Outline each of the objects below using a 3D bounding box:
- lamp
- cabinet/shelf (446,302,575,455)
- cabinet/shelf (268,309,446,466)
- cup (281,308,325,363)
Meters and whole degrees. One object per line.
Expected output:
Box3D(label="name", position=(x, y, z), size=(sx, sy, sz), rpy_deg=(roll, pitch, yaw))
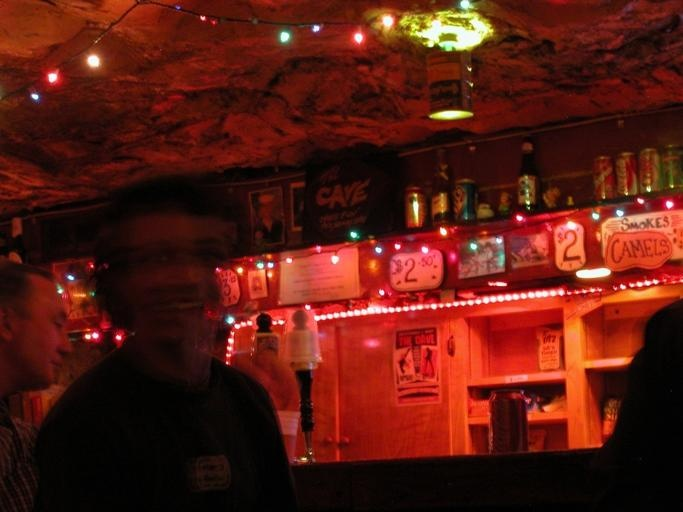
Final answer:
Box3D(label="lamp", position=(0.537, -0.852, 3.943), size=(0.236, 0.272, 0.181), rpy_deg=(3, -7, -22))
Box3D(label="cabinet/shelf", position=(1.152, 0.877, 4.900), size=(0.764, 1.090, 0.401), rpy_deg=(-12, -18, 27))
Box3D(label="cabinet/shelf", position=(0.155, 0.756, 4.543), size=(1.252, 1.001, 0.427), rpy_deg=(-4, -10, 22))
Box3D(label="cup", position=(-0.157, 0.324, 3.169), size=(0.179, 0.229, 0.158), rpy_deg=(-3, -3, -5))
